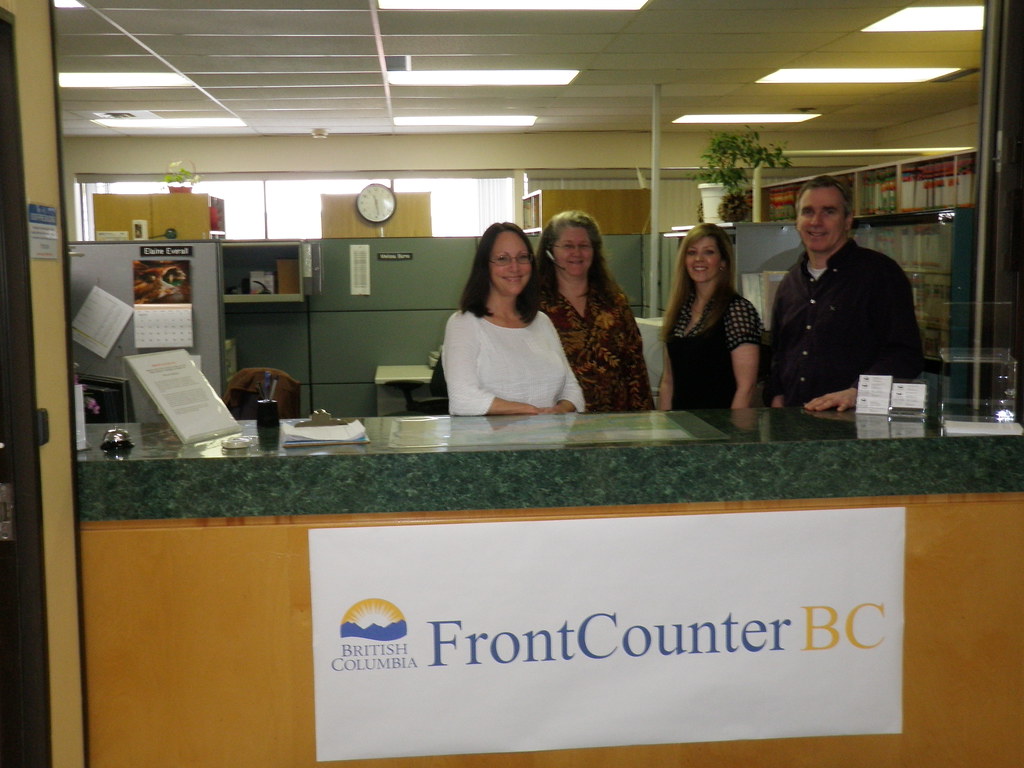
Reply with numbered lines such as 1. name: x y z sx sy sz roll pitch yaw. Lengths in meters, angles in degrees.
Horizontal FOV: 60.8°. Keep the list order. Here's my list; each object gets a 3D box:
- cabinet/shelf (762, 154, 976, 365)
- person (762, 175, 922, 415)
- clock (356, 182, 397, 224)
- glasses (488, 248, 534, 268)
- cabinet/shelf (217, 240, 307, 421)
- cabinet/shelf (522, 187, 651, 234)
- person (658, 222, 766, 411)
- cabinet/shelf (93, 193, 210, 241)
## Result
1. cabinet/shelf: 1.800 -0.668 4.396 0.294 0.869 0.904 -3 5 -36
2. person: 1.346 -0.377 3.572 0.602 0.942 0.354 0 7 16
3. clock: -1.130 -1.518 7.380 0.248 0.382 0.452 0 7 10
4. glasses: -0.002 -0.456 3.192 0.152 0.052 0.052 -2 6 -3
5. cabinet/shelf: -1.728 -0.260 6.127 0.603 1.458 0.412 0 -2 -13
6. cabinet/shelf: 0.771 -1.657 8.182 0.992 0.441 1.013 -2 5 -9
7. person: 0.830 -0.282 3.686 0.436 0.796 0.409 0 7 16
8. cabinet/shelf: -2.748 -1.286 6.633 0.846 0.349 0.443 -3 7 -14
